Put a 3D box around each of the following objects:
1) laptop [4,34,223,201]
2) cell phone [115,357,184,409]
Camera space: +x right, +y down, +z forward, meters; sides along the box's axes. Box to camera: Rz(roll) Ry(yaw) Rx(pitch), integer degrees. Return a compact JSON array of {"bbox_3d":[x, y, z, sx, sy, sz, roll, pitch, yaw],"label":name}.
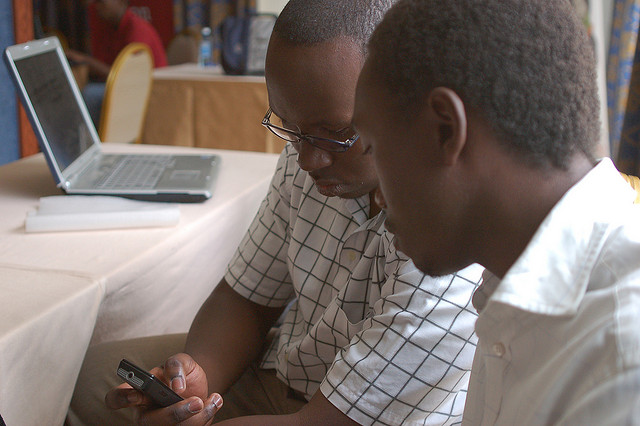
[{"bbox_3d":[-0.544,-0.188,1.777,0.498,0.439,0.557,2,15,0],"label":"laptop"},{"bbox_3d":[-0.347,0.341,1.248,0.027,0.115,0.109,-51,30,-9],"label":"cell phone"}]
